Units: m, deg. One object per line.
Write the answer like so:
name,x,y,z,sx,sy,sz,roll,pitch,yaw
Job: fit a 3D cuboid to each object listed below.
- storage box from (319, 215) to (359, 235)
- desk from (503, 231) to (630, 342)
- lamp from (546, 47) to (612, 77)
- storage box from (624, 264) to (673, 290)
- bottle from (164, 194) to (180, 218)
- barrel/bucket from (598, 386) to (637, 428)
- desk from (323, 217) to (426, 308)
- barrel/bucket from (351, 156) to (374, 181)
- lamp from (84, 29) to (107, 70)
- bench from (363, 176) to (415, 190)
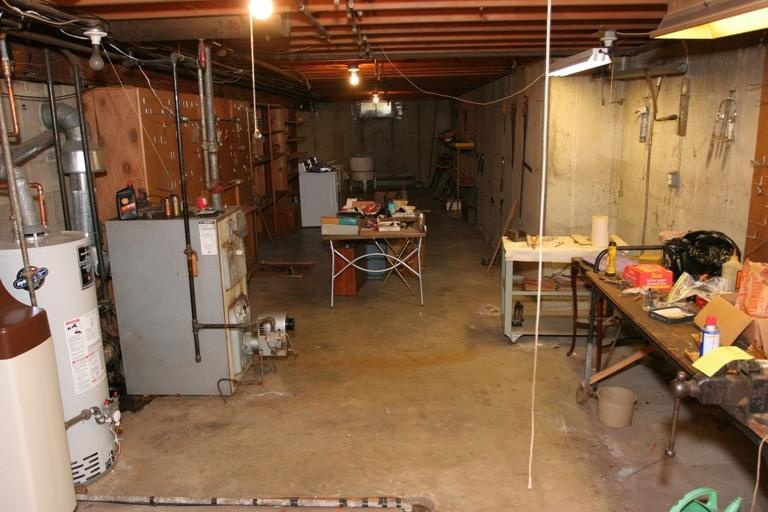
storage box,-0.605,-0.417,8.470,0.475,0.204,0.328,0,-1,0
desk,2.198,0.398,7.481,2.101,1.385,1.160,0,12,3
lamp,1.705,-1.694,5.419,0.246,0.180,0.773,-4,15,-2
storage box,2.437,0.178,5.680,0.257,0.144,0.331,-2,11,-1
bottle,-2.120,-0.503,6.151,0.160,0.204,0.303,-9,17,-18
barrel/bucket,2.139,1.406,5.803,0.365,0.238,0.355,-3,8,0
desk,-0.134,-0.046,9.030,1.389,1.070,1.589,-3,16,1
barrel/bucket,-0.665,-2.603,18.548,0.785,0.682,0.765,-1,8,0
lamp,-2.509,-1.761,5.433,0.249,0.368,0.232,-5,17,-37
bench,0.321,-2.312,19.818,1.685,0.368,1.163,-7,16,-16
